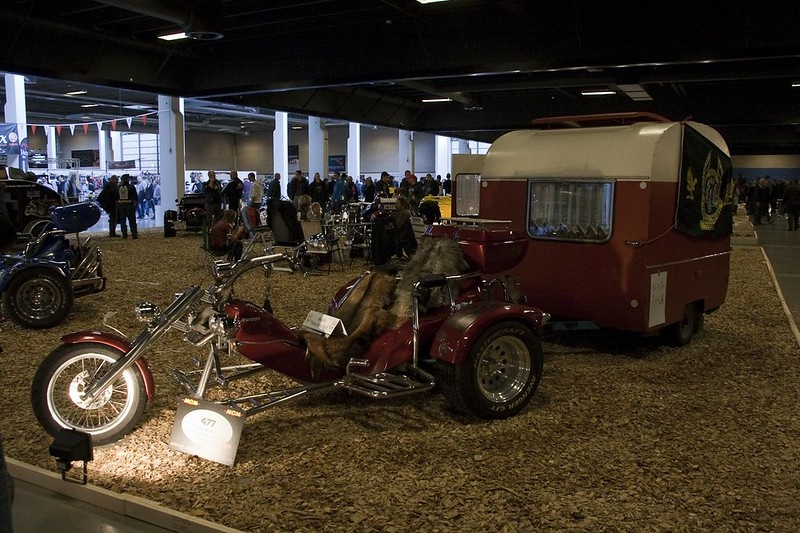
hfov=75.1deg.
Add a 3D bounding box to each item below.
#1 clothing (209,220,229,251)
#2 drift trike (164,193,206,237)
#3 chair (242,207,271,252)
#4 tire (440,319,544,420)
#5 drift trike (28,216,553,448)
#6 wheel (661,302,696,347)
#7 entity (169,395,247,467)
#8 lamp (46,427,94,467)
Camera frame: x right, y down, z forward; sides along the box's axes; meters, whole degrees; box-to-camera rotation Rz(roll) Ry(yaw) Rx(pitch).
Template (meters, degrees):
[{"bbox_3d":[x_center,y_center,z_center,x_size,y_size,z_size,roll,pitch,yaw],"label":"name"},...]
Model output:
[{"bbox_3d":[-3.630,-0.598,10.515,0.343,0.599,0.602,1,3,-37],"label":"clothing"},{"bbox_3d":[-7.264,-1.586,17.682,1.758,1.363,2.756,-1,5,-28],"label":"drift trike"},{"bbox_3d":[-3.316,-0.771,12.237,0.844,1.044,0.812,1,1,-27],"label":"chair"},{"bbox_3d":[0.823,0.848,4.438,0.837,0.850,0.288,-7,6,-26],"label":"tire"},{"bbox_3d":[-0.568,0.477,4.283,3.836,1.582,1.045,-3,12,-16],"label":"drift trike"},{"bbox_3d":[3.190,0.657,6.005,0.505,0.511,0.189,5,10,-42],"label":"wheel"},{"bbox_3d":[-1.376,1.171,3.741,0.603,0.443,0.325,-7,16,-12],"label":"entity"},{"bbox_3d":[-2.129,1.171,3.370,0.248,0.203,0.137,6,8,11],"label":"lamp"}]
